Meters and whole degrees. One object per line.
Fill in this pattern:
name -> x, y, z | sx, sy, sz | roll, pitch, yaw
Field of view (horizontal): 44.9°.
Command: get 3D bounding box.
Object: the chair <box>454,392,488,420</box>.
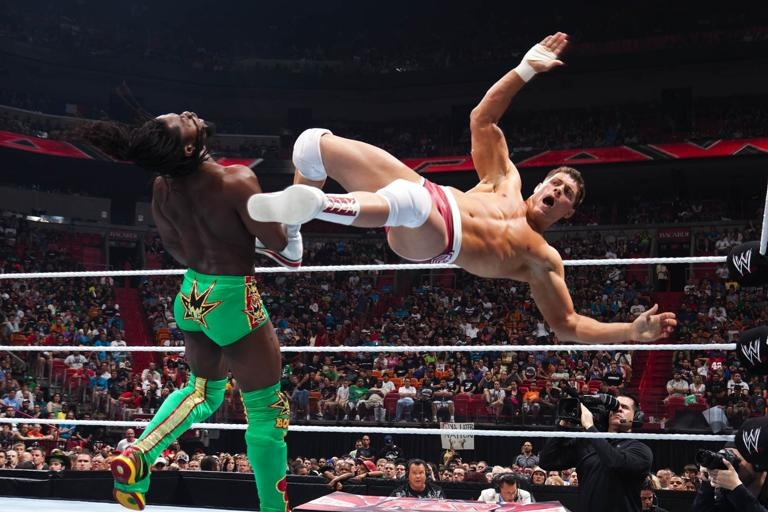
chair -> 2.076, 3.572, 22.316 | 0.815, 0.692, 0.565 | 0, -9, -1

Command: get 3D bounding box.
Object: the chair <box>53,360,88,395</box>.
chair -> -7.939, 3.046, 23.455 | 0.827, 0.875, 0.796 | 5, -13, -22

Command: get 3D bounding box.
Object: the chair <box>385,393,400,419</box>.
chair -> 0.192, 3.607, 22.477 | 0.524, 0.624, 0.503 | -1, -19, 7

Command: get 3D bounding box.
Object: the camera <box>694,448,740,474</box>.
camera -> 5.331, 3.232, 14.777 | 0.455, 0.184, 0.399 | 14, -10, -14

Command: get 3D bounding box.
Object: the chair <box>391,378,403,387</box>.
chair -> 0.351, 3.183, 23.383 | 0.179, 0.187, 0.226 | -1, 13, 9

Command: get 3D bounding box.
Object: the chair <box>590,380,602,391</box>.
chair -> 5.171, 3.119, 22.450 | 0.251, 0.298, 0.264 | 0, -20, 11
